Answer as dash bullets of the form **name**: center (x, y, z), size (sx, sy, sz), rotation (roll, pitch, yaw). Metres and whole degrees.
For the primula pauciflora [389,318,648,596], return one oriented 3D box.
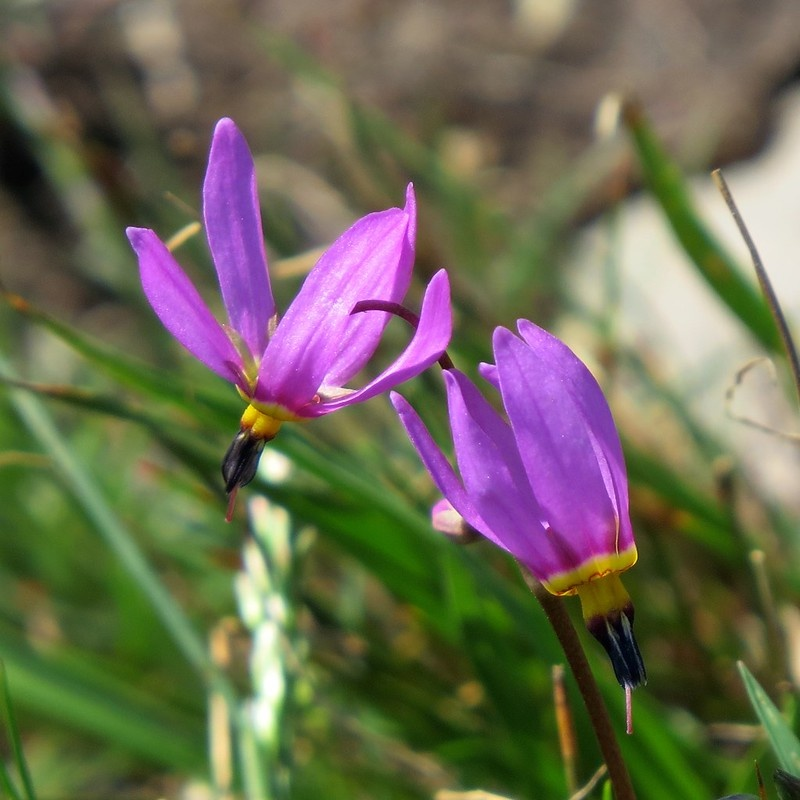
- **primula pauciflora**: center (0.134, 0.082, 1.318), size (0.225, 0.349, 0.195), rotation (-34, 2, 20)
